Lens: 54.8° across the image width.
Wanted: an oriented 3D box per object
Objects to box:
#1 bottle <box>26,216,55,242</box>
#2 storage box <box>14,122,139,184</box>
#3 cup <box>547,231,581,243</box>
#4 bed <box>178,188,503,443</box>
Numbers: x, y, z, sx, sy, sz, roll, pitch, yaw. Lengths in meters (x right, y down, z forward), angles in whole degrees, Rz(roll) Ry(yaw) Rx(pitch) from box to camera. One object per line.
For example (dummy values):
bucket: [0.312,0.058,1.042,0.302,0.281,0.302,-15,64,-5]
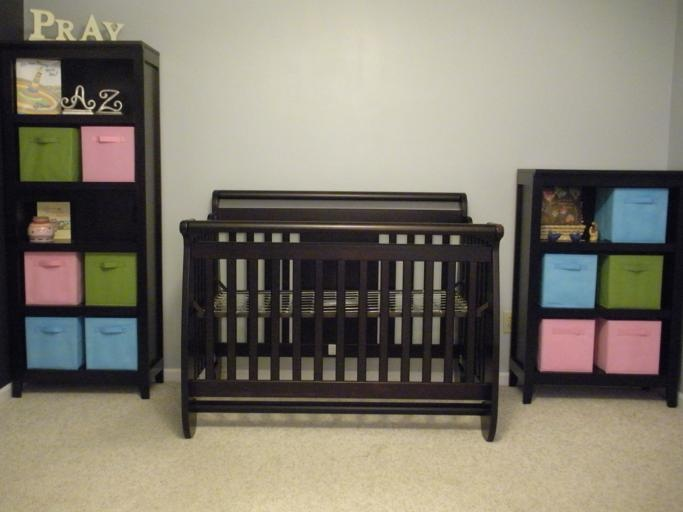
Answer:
bottle: [-1.605,-0.138,3.494,0.086,0.087,0.180,0,1,-13]
storage box: [-1.383,-0.527,3.462,0.614,0.296,0.128,0,5,8]
cup: [1.201,-0.101,3.531,0.219,0.080,0.064,0,9,6]
bed: [-0.011,0.312,3.467,1.511,1.026,1.000,0,5,-3]
